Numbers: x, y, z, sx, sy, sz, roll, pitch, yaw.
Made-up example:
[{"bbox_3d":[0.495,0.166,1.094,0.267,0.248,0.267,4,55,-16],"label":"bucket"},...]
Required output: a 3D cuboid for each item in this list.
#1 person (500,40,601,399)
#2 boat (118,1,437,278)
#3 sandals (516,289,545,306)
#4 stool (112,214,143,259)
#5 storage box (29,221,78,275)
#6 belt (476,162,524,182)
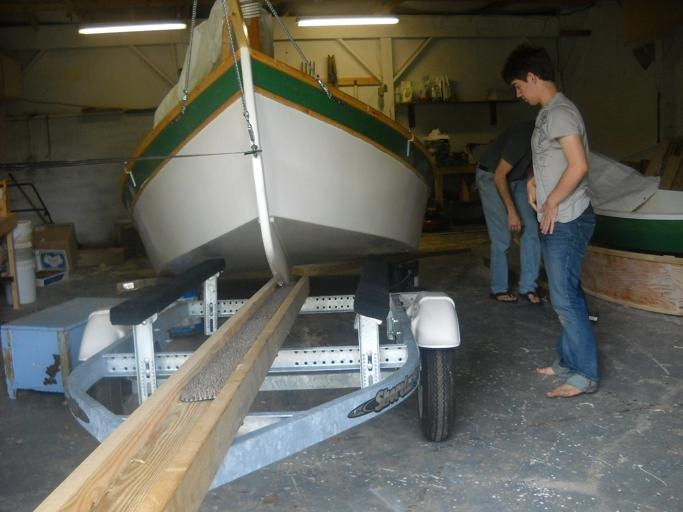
[{"bbox_3d":[1.138,-0.202,2.891,0.345,1.798,0.556,-7,14,-18],"label":"person"},{"bbox_3d":[-0.393,-0.539,3.671,1.265,0.977,2.187,-6,-16,6],"label":"boat"},{"bbox_3d":[1.552,0.336,4.438,0.108,0.085,0.270,-9,2,-7],"label":"sandals"},{"bbox_3d":[-2.788,-0.232,7.082,0.291,0.564,0.487,-16,21,-25],"label":"stool"},{"bbox_3d":[-3.361,-0.067,6.349,0.414,0.542,0.595,-7,14,-18],"label":"storage box"},{"bbox_3d":[1.321,-0.678,4.327,0.225,0.131,0.178,8,15,26],"label":"belt"}]
